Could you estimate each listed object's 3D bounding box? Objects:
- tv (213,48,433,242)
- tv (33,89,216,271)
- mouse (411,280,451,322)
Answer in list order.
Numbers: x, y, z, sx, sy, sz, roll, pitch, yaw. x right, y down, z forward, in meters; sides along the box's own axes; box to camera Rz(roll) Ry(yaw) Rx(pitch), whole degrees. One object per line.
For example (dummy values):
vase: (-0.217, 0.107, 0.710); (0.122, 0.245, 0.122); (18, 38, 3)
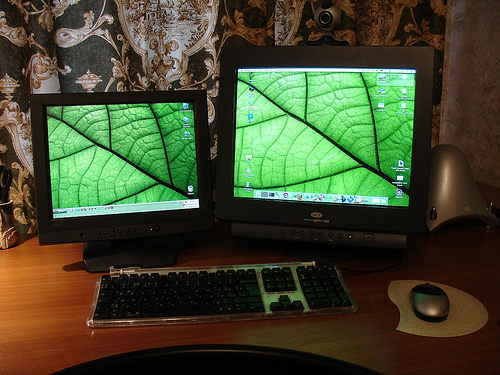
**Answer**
tv: (0.178, -0.113, 1.337); (0.651, 0.522, 0.348); (2, -1, -10)
tv: (-0.351, -0.024, 1.181); (0.477, 0.446, 0.251); (-2, 10, -12)
mouse: (0.423, 0.257, 1.019); (0.082, 0.041, 0.143); (4, 20, 17)
